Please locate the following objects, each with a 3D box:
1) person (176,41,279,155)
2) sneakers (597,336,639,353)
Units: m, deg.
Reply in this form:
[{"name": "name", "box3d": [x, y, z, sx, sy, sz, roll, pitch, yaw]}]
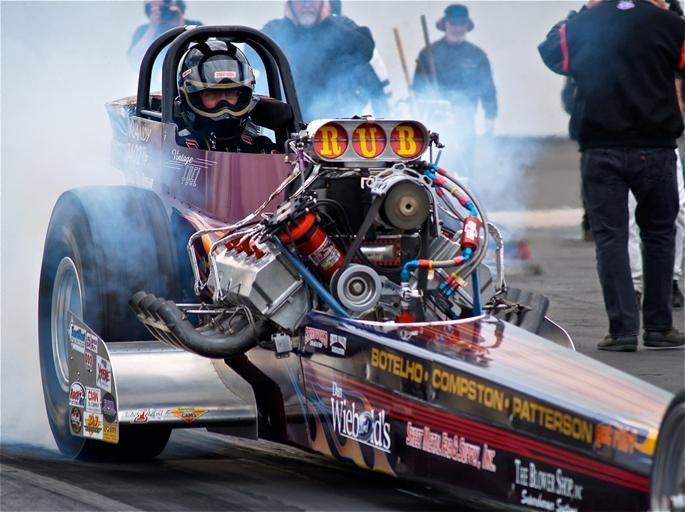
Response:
[{"name": "person", "box3d": [-0.838, -1.096, 8.571, 0.555, 0.565, 0.714, -3, 10, -13]}, {"name": "sneakers", "box3d": [1.903, 0.610, 8.945, 0.112, 0.104, 0.249, -2, 4, -42]}]
